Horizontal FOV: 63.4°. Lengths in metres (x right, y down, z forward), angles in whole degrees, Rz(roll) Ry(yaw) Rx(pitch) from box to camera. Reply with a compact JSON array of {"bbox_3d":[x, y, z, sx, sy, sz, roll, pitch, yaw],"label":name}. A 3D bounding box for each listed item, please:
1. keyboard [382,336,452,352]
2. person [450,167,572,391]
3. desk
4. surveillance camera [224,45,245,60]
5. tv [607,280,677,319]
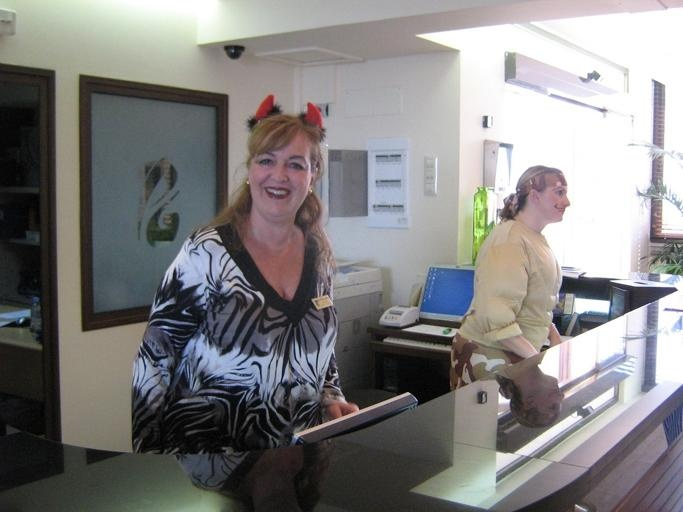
[{"bbox_3d":[0.512,0.592,3.732,0.497,0.049,0.111,-4,3,33],"label":"keyboard"},{"bbox_3d":[0.891,0.104,2.811,0.623,1.111,0.436,-7,3,-24],"label":"person"},{"bbox_3d":[0.508,0.572,3.869,0.628,0.544,0.450,2,1,40],"label":"desk"},{"bbox_3d":[-0.782,-1.505,4.083,0.139,0.079,0.149,-4,3,25],"label":"surveillance camera"},{"bbox_3d":[1.821,0.266,3.342,0.336,0.239,0.415,-5,3,15],"label":"tv"}]
